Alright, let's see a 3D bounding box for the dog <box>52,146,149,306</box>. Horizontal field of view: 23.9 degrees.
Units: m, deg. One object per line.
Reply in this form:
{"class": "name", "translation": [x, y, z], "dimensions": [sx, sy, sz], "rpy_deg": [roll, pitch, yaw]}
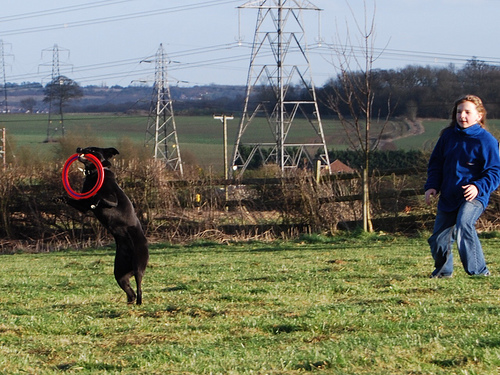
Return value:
{"class": "dog", "translation": [-3.495, 0.974, 30.503], "dimensions": [1.360, 4.034, 1.615], "rpy_deg": [-17, 17, -41]}
